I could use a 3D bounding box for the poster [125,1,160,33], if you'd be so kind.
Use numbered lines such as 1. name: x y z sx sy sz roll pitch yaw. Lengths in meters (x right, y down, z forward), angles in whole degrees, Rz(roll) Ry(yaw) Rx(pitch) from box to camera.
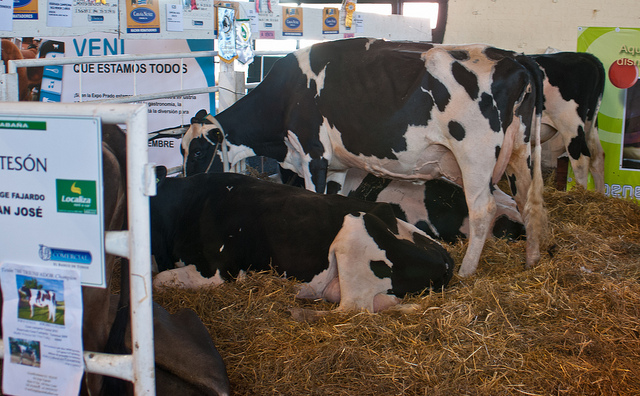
1. poster: -1.636 -1.665 5.501 0.301 0.265 0.031 -5 13 -28

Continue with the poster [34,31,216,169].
1. poster: -2.012 -1.161 6.660 1.732 1.781 0.023 -4 -3 -23

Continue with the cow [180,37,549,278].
1. cow: 0.250 -0.498 6.366 3.953 2.244 1.026 5 12 24
